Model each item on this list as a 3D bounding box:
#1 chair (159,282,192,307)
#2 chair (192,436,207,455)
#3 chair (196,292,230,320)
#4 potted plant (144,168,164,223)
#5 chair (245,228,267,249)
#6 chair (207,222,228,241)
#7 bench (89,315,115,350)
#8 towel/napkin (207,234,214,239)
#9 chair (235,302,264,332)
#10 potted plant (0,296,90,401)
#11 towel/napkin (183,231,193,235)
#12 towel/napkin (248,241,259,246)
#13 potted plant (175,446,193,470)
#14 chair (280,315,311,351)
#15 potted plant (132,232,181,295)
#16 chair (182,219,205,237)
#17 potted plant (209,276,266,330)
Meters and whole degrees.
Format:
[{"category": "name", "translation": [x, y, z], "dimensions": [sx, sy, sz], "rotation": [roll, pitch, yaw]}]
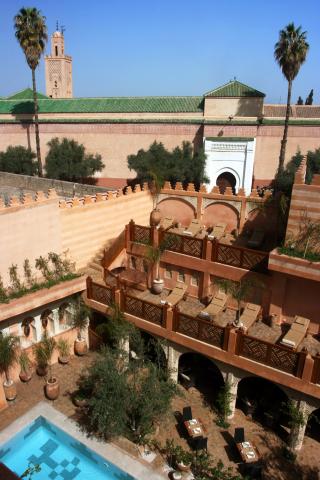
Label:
[{"category": "chair", "translation": [0.577, 2.030, 11.697], "dimensions": [0.455, 0.473, 1.173], "rotation": [14, 28, 28]}, {"category": "chair", "translation": [1.013, 5.230, 8.037], "dimensions": [0.334, 0.613, 0.381], "rotation": [-1, 35, -4]}, {"category": "chair", "translation": [1.844, 2.346, 10.944], "dimensions": [0.504, 0.532, 1.355], "rotation": [16, 31, 33]}, {"category": "potted plant", "translation": [-0.202, -2.206, 16.616], "dimensions": [0.747, 2.817, 1.277], "rotation": [1, 13, -2]}, {"category": "chair", "translation": [4.144, -0.056, 13.536], "dimensions": [0.493, 0.365, 1.421], "rotation": [12, 43, 24]}, {"category": "chair", "translation": [2.600, -0.336, 14.492], "dimensions": [0.571, 0.565, 1.426], "rotation": [12, 34, 24]}, {"category": "bench", "translation": [-2.541, 3.552, 12.253], "dimensions": [0.780, 1.058, 0.793], "rotation": [-14, -16, 9]}, {"category": "towel/napkin", "translation": [2.257, -0.176, 13.977], "dimensions": [0.268, 0.077, 0.269], "rotation": [10, 34, 31]}, {"category": "chair", "translation": [2.902, 2.510, 10.415], "dimensions": [0.458, 0.448, 1.232], "rotation": [18, 41, 29]}, {"category": "potted plant", "translation": [-3.841, 3.524, 10.811], "dimensions": [1.790, 2.468, 3.426], "rotation": [7, 14, 20]}, {"category": "towel/napkin", "translation": [1.269, -0.313, 14.182], "dimensions": [0.402, 0.144, 0.665], "rotation": [5, 14, 11]}, {"category": "towel/napkin", "translation": [3.852, 0.175, 13.037], "dimensions": [0.420, 0.195, 0.396], "rotation": [7, 15, 20]}, {"category": "potted plant", "translation": [0.580, 5.273, 7.611], "dimensions": [0.384, 0.422, 0.324], "rotation": [-13, 28, -24]}, {"category": "chair", "translation": [4.005, 2.719, 9.313], "dimensions": [0.516, 0.524, 1.341], "rotation": [13, 36, 35]}, {"category": "potted plant", "translation": [-0.164, 0.701, 12.741], "dimensions": [1.975, 2.326, 0.746], "rotation": [10, 16, 32]}, {"category": "chair", "translation": [1.568, -0.510, 14.717], "dimensions": [0.493, 0.377, 1.254], "rotation": [10, 30, 19]}, {"category": "potted plant", "translation": [2.589, 1.867, 10.259], "dimensions": [1.405, 1.610, 1.564], "rotation": [0, -9, 30]}]
